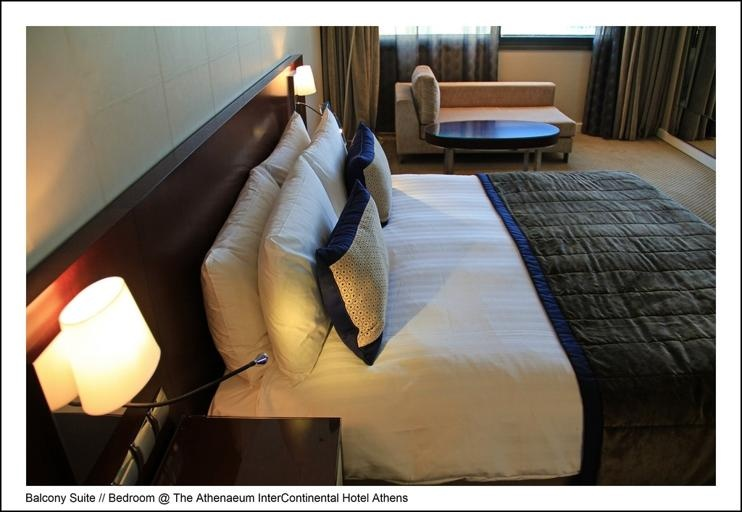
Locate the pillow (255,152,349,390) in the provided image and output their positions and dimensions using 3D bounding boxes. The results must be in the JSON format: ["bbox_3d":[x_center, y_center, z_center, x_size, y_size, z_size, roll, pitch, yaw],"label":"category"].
[{"bbox_3d":[-0.253,0.079,1.829,0.199,0.468,0.803,-10,42,14],"label":"pillow"}]

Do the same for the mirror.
[{"bbox_3d":[3.079,-1.557,4.956,0.134,1.419,1.278,-7,48,22],"label":"mirror"}]

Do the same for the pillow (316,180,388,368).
[{"bbox_3d":[-0.051,0.211,2.028,0.185,0.343,0.588,-14,-4,5],"label":"pillow"}]
